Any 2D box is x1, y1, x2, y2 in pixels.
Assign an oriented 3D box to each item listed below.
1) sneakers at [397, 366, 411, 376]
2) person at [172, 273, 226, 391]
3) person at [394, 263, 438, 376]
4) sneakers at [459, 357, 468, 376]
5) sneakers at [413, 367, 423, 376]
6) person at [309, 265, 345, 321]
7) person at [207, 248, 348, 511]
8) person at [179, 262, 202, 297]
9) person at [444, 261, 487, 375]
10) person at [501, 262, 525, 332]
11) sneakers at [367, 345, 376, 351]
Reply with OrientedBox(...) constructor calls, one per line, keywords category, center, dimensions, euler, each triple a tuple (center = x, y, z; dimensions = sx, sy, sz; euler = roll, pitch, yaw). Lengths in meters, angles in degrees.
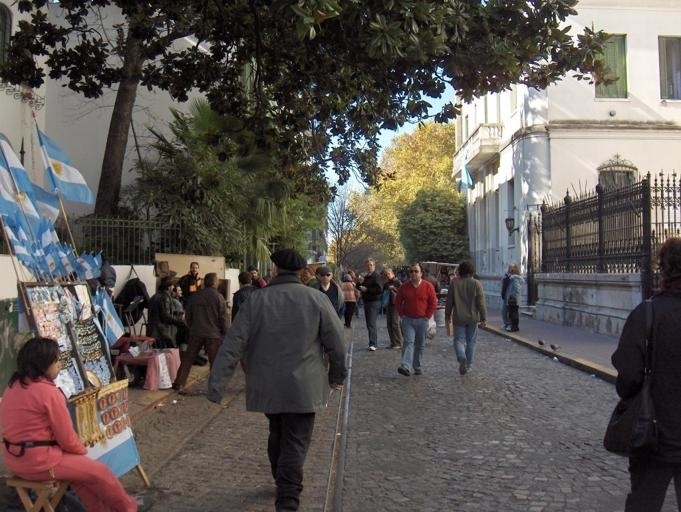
OrientedBox(category="sneakers", center=(1.153, 2.063, 10.884), dimensions=(0.124, 0.266, 0.113), euler=(-34, 30, 4))
OrientedBox(category="person", center=(-2.363, 1.195, 10.307), dimensions=(0.664, 2.180, 0.589), euler=(4, 19, -20))
OrientedBox(category="person", center=(1.383, 1.185, 11.216), dimensions=(0.753, 2.067, 1.042), euler=(0, 2, 9))
OrientedBox(category="sneakers", center=(2.248, 1.999, 11.064), dimensions=(0.109, 0.366, 0.142), euler=(2, 29, 12))
OrientedBox(category="sneakers", center=(1.465, 2.156, 11.434), dimensions=(0.125, 0.147, 0.133), euler=(-4, 1, -21))
OrientedBox(category="person", center=(-0.240, 1.109, 12.471), dimensions=(0.626, 1.766, 0.518), euler=(-6, 0, -12))
OrientedBox(category="person", center=(-0.527, 1.069, 5.634), dimensions=(0.756, 2.252, 1.154), euler=(1, 2, 42))
OrientedBox(category="person", center=(-3.294, 0.516, 13.276), dimensions=(0.591, 1.013, 0.415), euler=(3, 0, -23))
OrientedBox(category="person", center=(2.321, 1.135, 11.278), dimensions=(0.708, 2.093, 0.819), euler=(0, 2, 13))
OrientedBox(category="person", center=(5.073, 1.212, 18.023), dimensions=(0.527, 1.912, 1.449), euler=(0, 2, 16))
OrientedBox(category="sneakers", center=(0.784, 2.227, 14.767), dimensions=(0.194, 0.102, 0.230), euler=(-1, 1, 4))
